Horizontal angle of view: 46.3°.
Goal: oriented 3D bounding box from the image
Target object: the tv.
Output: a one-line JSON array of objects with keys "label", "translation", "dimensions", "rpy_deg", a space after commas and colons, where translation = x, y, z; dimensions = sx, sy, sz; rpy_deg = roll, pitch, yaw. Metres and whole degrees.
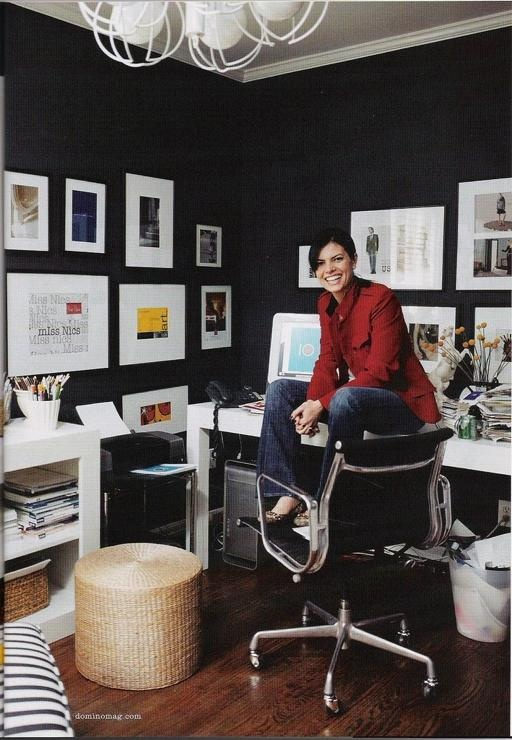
[{"label": "tv", "translation": [0.125, -0.077, 2.194], "dimensions": [0.216, 0.238, 0.054], "rpy_deg": [1, -1, 30]}]

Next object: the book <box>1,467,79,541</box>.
[{"label": "book", "translation": [-0.643, 0.381, 1.748], "dimensions": [0.135, 0.172, 0.211], "rpy_deg": [4, 5, 38]}]

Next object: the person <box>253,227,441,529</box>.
[{"label": "person", "translation": [0.278, -0.015, 2.338], "dimensions": [0.739, 1.235, 0.548], "rpy_deg": [5, -10, -20]}]

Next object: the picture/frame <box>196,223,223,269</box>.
[{"label": "picture/frame", "translation": [-0.224, -0.570, 2.737], "dimensions": [0.015, 0.254, 0.206], "rpy_deg": [0, 1, 34]}]

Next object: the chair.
[{"label": "chair", "translation": [0.295, 0.439, 1.661], "dimensions": [0.575, 0.777, 0.577], "rpy_deg": [-2, 6, -35]}]

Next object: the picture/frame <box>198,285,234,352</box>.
[{"label": "picture/frame", "translation": [-0.200, -0.247, 2.798], "dimensions": [0.018, 0.422, 0.284], "rpy_deg": [1, 3, 34]}]

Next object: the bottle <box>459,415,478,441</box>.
[{"label": "bottle", "translation": [0.614, 0.164, 1.731], "dimensions": [0.053, 0.065, 0.032], "rpy_deg": [1, 4, 7]}]

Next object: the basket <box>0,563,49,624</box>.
[{"label": "basket", "translation": [-0.640, 0.634, 1.684], "dimensions": [0.101, 0.092, 0.127], "rpy_deg": [-16, -11, 32]}]

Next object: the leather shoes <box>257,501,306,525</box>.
[{"label": "leather shoes", "translation": [0.082, 0.412, 1.774], "dimensions": [0.060, 0.044, 0.153], "rpy_deg": [1, -2, 44]}]

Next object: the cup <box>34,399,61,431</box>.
[{"label": "cup", "translation": [-0.606, 0.129, 1.748], "dimensions": [0.074, 0.090, 0.078], "rpy_deg": [1, -5, 0]}]

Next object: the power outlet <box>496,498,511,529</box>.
[{"label": "power outlet", "translation": [0.884, 0.509, 2.135], "dimensions": [0.038, 0.085, 0.068], "rpy_deg": [2, 4, 19]}]

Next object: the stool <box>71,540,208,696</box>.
[{"label": "stool", "translation": [-0.301, 0.593, 1.450], "dimensions": [0.264, 0.241, 0.290], "rpy_deg": [1, -1, -4]}]
